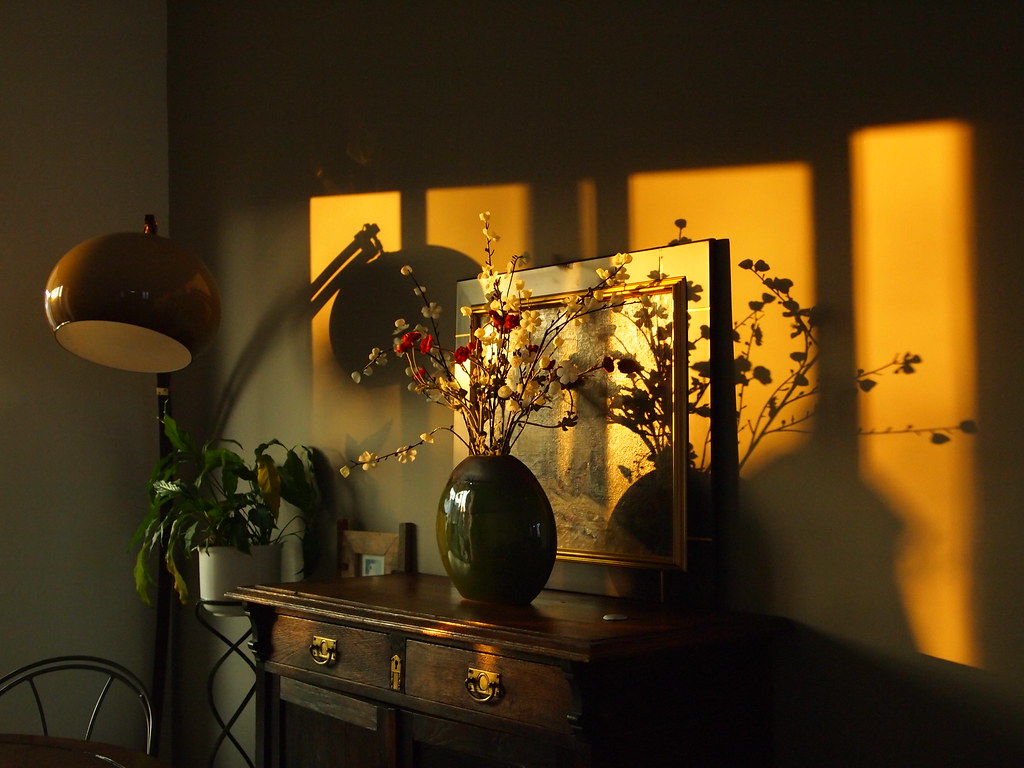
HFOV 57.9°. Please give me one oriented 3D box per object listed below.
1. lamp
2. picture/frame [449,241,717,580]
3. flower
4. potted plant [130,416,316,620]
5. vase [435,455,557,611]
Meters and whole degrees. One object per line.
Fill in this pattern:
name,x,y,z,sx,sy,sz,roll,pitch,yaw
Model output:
lamp,-1.344,0.474,3.310,0.538,2.066,1.782,0,2,-25
picture/frame,0.230,0.120,2.733,0.069,0.939,0.851,-1,0,-36
flower,-0.027,-0.046,2.813,0.725,0.705,0.737,-6,-13,35
potted plant,-1.119,0.594,3.672,0.802,0.798,0.670,-7,-16,21
vase,-0.070,0.363,2.581,0.321,0.460,0.363,-3,1,-29
